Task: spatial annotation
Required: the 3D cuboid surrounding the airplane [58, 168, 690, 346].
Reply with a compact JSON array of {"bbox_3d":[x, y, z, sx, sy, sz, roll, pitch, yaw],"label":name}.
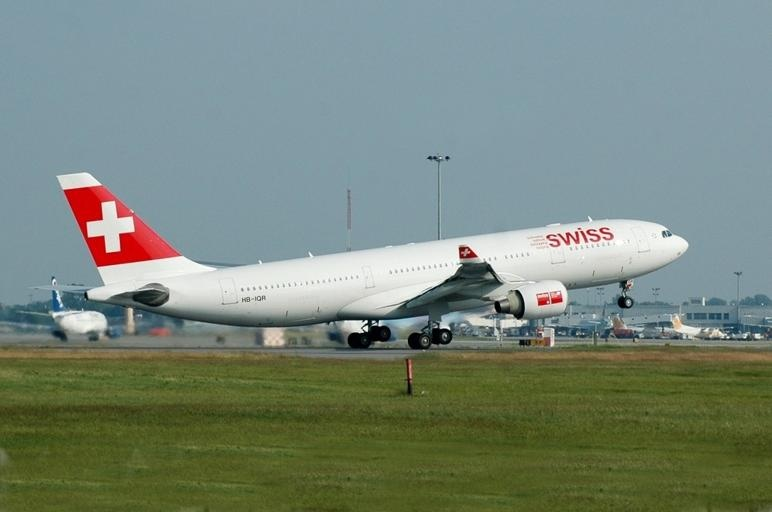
[{"bbox_3d":[-0.098,-0.313,64.327,28.272,7.765,24.204,-5,2,19],"label":"airplane"}]
